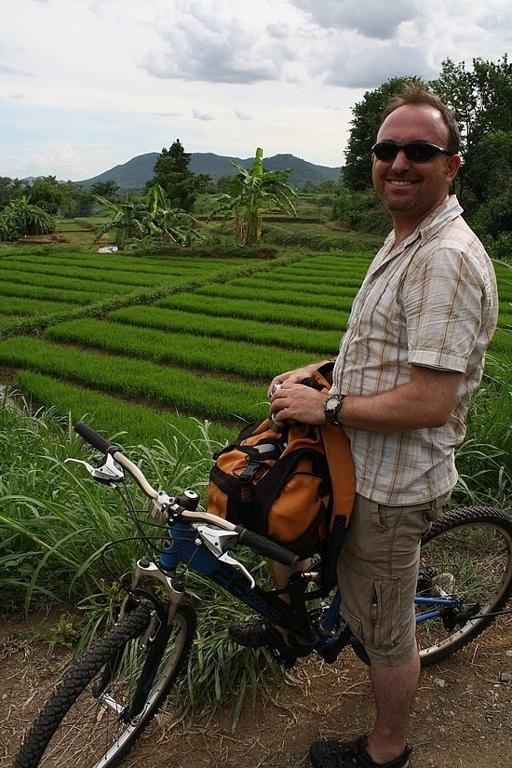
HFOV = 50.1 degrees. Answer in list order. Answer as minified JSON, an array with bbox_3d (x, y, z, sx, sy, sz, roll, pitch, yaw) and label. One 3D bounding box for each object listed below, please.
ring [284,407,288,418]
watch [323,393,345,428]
[{"bbox_3d":[0.097,0.092,1.802,0.015,0.019,0.019,21,21,3],"label":"ring"},{"bbox_3d":[0.237,0.084,1.686,0.061,0.095,0.050,2,15,6],"label":"watch"}]
